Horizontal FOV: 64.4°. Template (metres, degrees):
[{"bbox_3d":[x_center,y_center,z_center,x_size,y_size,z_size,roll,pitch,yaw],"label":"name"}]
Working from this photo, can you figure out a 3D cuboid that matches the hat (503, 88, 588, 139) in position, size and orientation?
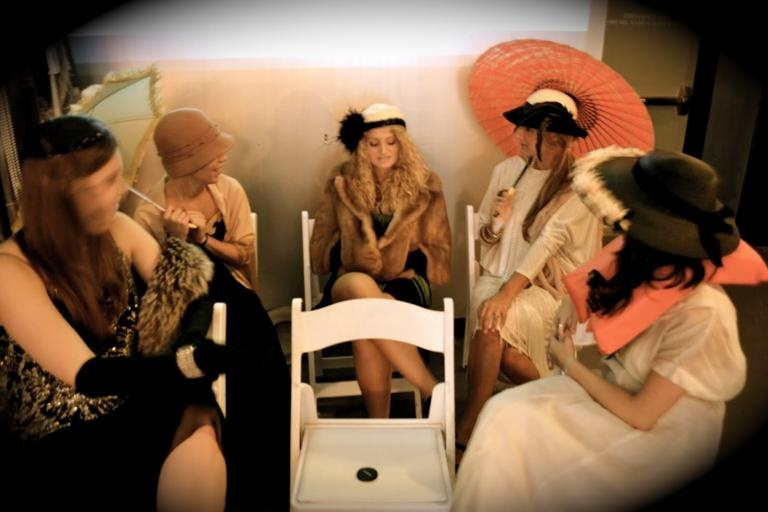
[{"bbox_3d":[0.811,-0.666,2.994,0.284,0.115,0.242,6,11,-15],"label":"hat"}]

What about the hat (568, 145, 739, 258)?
[{"bbox_3d":[0.938,-0.150,2.139,0.424,0.155,0.428,27,47,14],"label":"hat"}]

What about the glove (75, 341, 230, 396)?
[{"bbox_3d":[-0.927,0.450,2.412,0.494,0.154,0.387,-7,-11,-9],"label":"glove"}]
